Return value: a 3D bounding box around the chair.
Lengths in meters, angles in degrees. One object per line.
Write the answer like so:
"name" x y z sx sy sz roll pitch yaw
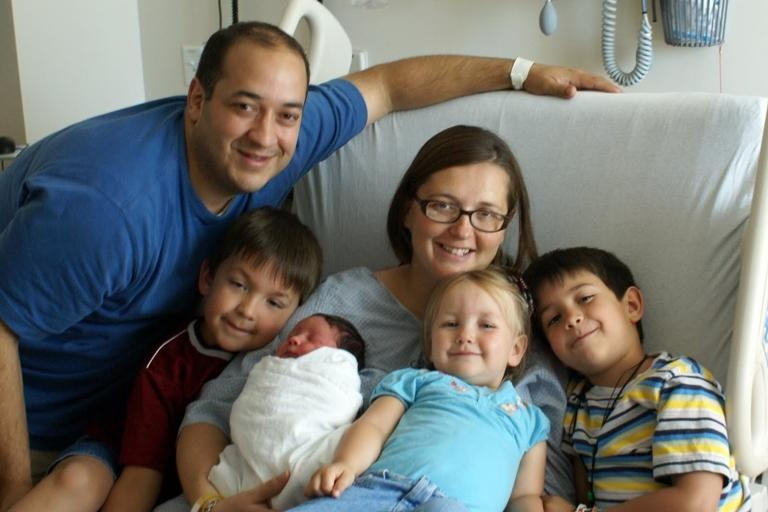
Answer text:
"chair" 0.635 0.290 2.298 1.445 1.064 1.103 16 50 34

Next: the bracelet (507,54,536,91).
"bracelet" 0.474 -0.622 2.122 0.080 0.110 0.046 28 12 34

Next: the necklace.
"necklace" 0.659 0.504 1.770 0.282 0.390 0.150 -18 -24 39
